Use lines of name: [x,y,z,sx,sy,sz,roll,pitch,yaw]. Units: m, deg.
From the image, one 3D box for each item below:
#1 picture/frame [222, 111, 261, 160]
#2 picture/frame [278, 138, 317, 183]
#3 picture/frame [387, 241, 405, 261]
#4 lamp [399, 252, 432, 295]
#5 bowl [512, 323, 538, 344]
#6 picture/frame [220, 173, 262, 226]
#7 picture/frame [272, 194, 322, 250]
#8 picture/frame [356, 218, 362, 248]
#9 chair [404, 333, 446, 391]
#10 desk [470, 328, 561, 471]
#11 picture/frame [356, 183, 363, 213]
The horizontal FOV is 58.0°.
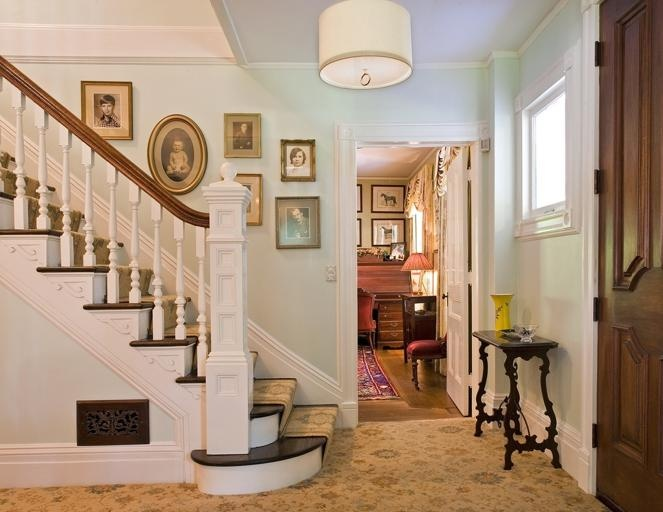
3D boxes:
picture/frame: [-0.792,-1.060,5.269,0.365,0.464,0.031,0,-1,-5]
picture/frame: [-0.300,-0.837,5.275,0.344,0.424,0.044,0,-1,-4]
picture/frame: [1.075,-0.072,9.849,0.318,0.441,0.030,0,-25,15]
lamp: [1.159,0.229,7.923,0.526,0.687,0.509,1,-3,4]
bowl: [1.509,0.589,4.591,0.122,0.099,0.136,-3,-3,10]
picture/frame: [-0.767,-0.498,5.248,0.301,0.465,0.023,-1,22,-11]
picture/frame: [-0.294,-0.293,5.284,0.408,0.498,0.024,-1,33,-5]
picture/frame: [0.489,-0.402,10.038,0.064,0.459,0.130,0,5,8]
chair: [1.006,1.150,6.638,0.459,0.440,0.476,-3,0,-3]
desk: [1.490,1.122,4.905,0.411,0.953,0.953,-2,0,-1]
picture/frame: [0.493,-0.973,10.084,0.084,0.476,0.094,-1,5,-5]
